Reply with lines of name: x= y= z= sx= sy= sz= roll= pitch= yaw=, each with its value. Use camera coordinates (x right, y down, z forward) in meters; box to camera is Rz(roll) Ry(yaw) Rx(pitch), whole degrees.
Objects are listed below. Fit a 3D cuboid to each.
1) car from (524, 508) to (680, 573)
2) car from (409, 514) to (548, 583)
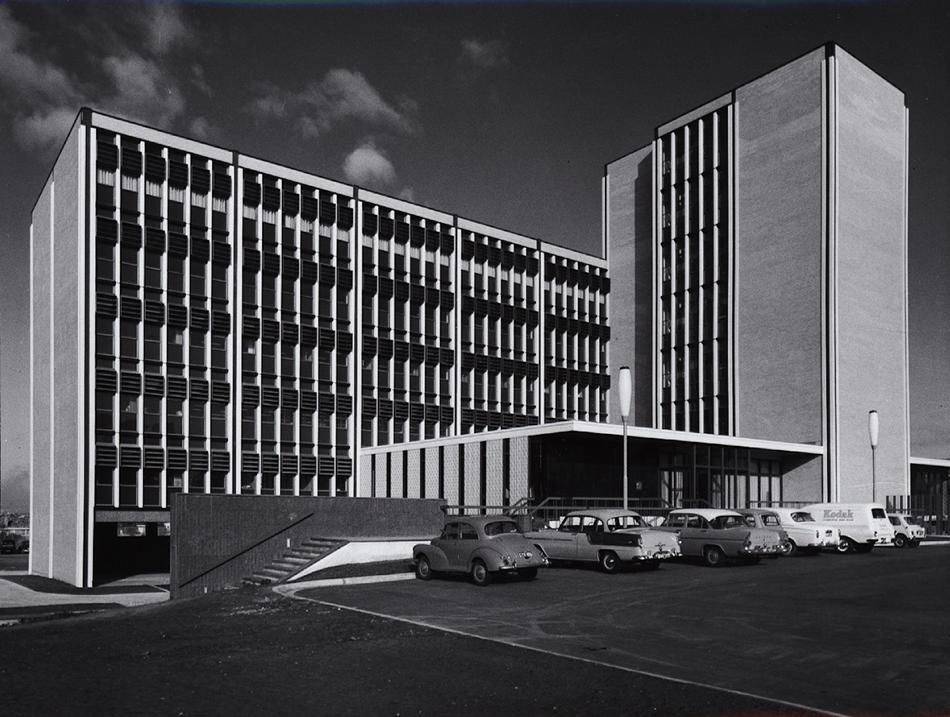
car: x=3.927 y=5.803 z=32.603 sx=3.796 sy=1.404 sz=2.123 roll=-6 pitch=-11 yaw=44
car: x=0.104 y=5.601 z=30.273 sx=3.215 sy=1.483 sz=1.892 roll=-6 pitch=-11 yaw=39
